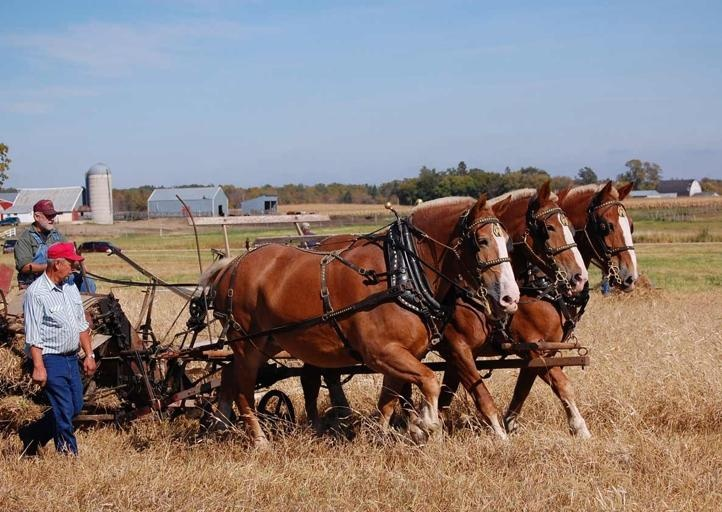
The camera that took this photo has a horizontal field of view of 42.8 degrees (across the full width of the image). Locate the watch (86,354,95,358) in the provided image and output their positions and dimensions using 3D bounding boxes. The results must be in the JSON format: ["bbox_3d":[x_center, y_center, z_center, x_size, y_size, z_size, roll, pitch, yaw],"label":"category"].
[{"bbox_3d":[-3.195,1.189,10.865,0.103,0.060,0.094,0,-6,28],"label":"watch"}]

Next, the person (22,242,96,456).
[{"bbox_3d":[-3.460,1.079,10.608,0.728,2.418,0.498,-5,8,-26],"label":"person"}]

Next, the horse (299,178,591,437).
[{"bbox_3d":[1.159,0.955,12.374,1.129,3.370,4.724,4,-8,-32],"label":"horse"}]

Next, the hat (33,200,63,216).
[{"bbox_3d":[-4.081,-0.613,11.928,0.313,0.182,0.205,0,3,14],"label":"hat"}]

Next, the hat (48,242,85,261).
[{"bbox_3d":[-3.440,-0.037,10.647,0.298,0.162,0.222,2,7,-22],"label":"hat"}]
